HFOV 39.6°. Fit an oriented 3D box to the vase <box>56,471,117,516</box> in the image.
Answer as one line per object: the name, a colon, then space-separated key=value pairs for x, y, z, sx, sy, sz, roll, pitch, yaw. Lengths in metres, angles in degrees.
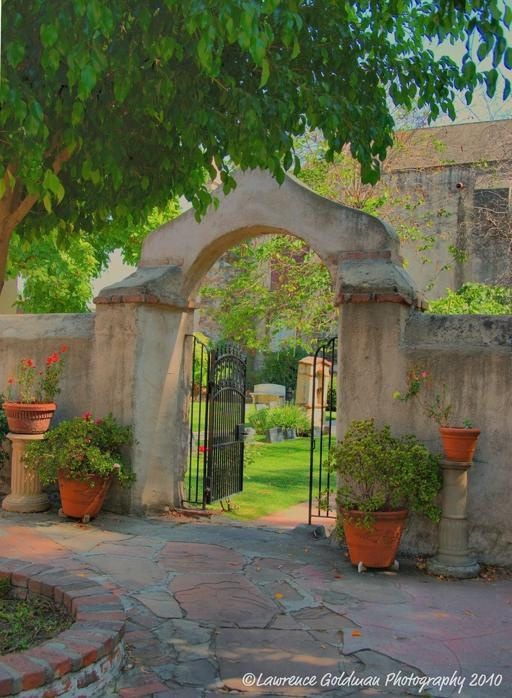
vase: x=-1.601 y=1.394 z=6.795 sx=0.519 sy=0.335 sz=0.457 roll=2 pitch=-3 yaw=0

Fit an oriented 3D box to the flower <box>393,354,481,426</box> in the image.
flower: x=1.482 y=0.401 z=5.999 sx=0.624 sy=0.529 sz=0.146 roll=-7 pitch=1 yaw=37

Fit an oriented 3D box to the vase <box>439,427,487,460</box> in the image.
vase: x=1.652 y=0.756 z=5.662 sx=0.304 sy=0.205 sz=0.291 roll=-1 pitch=-5 yaw=29

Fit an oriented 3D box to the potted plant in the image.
potted plant: x=1.039 y=1.176 z=5.801 sx=0.945 sy=1.164 sz=0.800 roll=-7 pitch=0 yaw=23

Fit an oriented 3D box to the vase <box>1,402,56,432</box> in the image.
vase: x=-2.254 y=0.649 z=7.010 sx=0.381 sy=0.198 sz=0.372 roll=-1 pitch=-4 yaw=36

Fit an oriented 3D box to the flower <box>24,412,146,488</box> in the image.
flower: x=-1.630 y=0.939 z=6.837 sx=0.846 sy=0.544 sz=0.847 roll=2 pitch=-2 yaw=32

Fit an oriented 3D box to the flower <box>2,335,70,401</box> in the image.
flower: x=-2.366 y=0.218 z=7.810 sx=0.836 sy=0.723 sz=0.347 roll=2 pitch=0 yaw=32
